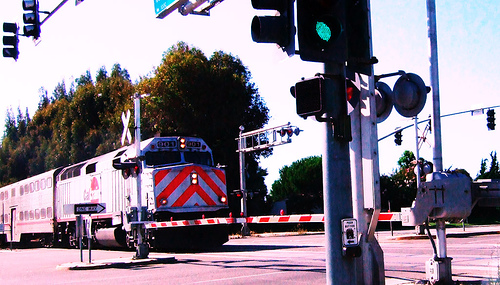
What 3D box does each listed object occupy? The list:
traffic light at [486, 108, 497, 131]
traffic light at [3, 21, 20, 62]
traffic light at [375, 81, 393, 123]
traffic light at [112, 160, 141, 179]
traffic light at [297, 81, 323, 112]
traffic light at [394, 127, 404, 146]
[{"bbox_3d":[16.280,-1.564,39.813,0.498,1.390,0.600,-5,-9,17],"label":"traffic light"},{"bbox_3d":[-12.222,-5.179,30.224,0.717,1.722,0.857,1,-9,-24],"label":"traffic light"},{"bbox_3d":[4.939,-1.512,21.674,0.739,1.496,0.373,-2,-8,-2],"label":"traffic light"},{"bbox_3d":[-6.203,1.271,29.852,0.854,0.496,1.288,10,-7,-19],"label":"traffic light"},{"bbox_3d":[2.070,-1.454,20.559,0.860,1.345,0.758,0,-30,5],"label":"traffic light"},{"bbox_3d":[11.520,-0.472,45.714,0.528,1.280,0.326,-6,-9,19],"label":"traffic light"}]
